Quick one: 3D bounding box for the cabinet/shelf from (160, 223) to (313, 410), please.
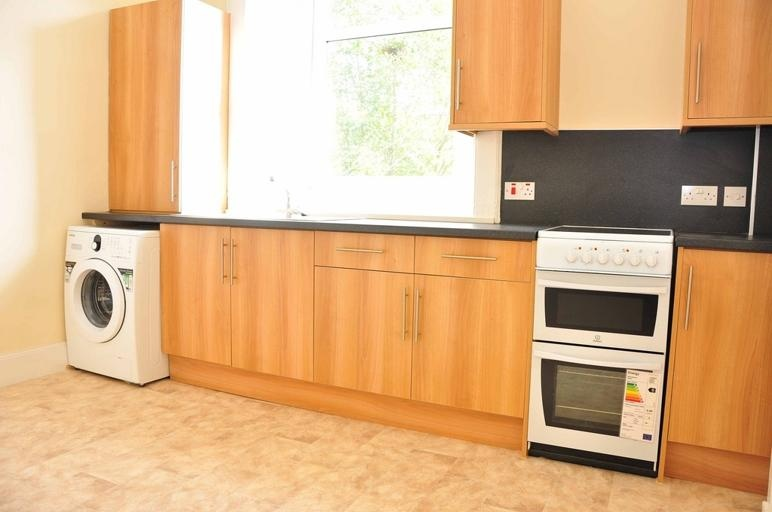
[{"bbox_3d":[-1.043,0.281,3.675,1.270,0.960,0.270,6,10,30],"label":"cabinet/shelf"}]

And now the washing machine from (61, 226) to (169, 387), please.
[{"bbox_3d":[-2.037,0.344,3.998,0.805,1.126,0.265,5,10,25],"label":"washing machine"}]

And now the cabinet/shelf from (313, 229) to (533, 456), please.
[{"bbox_3d":[0.270,0.445,3.470,1.503,1.198,0.592,2,1,25],"label":"cabinet/shelf"}]
